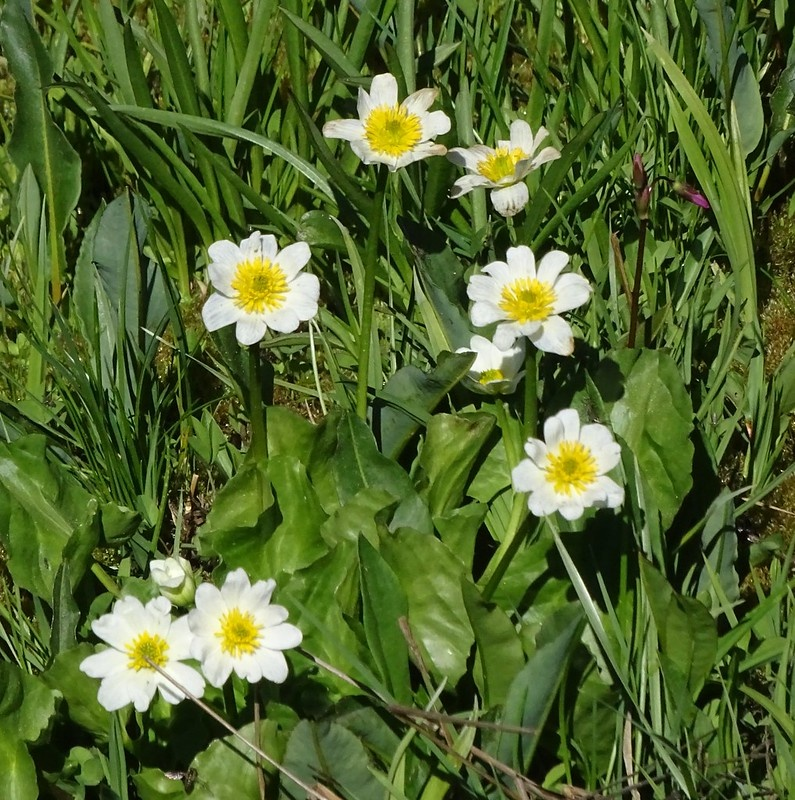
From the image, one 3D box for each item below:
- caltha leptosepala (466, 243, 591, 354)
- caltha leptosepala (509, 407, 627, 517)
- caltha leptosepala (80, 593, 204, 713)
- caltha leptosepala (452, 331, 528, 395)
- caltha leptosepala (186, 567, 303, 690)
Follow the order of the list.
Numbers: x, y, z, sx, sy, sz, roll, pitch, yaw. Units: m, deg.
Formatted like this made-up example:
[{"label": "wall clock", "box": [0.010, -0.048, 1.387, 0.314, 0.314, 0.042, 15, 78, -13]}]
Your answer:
[{"label": "caltha leptosepala", "box": [0.181, -0.130, 1.364, 0.145, 0.194, 0.087, 13, 50, -11]}, {"label": "caltha leptosepala", "box": [0.221, 0.090, 1.231, 0.127, 0.069, 0.173, 16, 45, 32]}, {"label": "caltha leptosepala", "box": [-0.314, 0.348, 1.220, 0.135, 0.055, 0.164, -36, 75, -4]}, {"label": "caltha leptosepala", "box": [0.156, -0.056, 1.535, 0.078, 0.051, 0.101, 10, 63, 40]}, {"label": "caltha leptosepala", "box": [-0.191, 0.286, 1.207, 0.128, 0.088, 0.178, 2, 26, -10]}]
